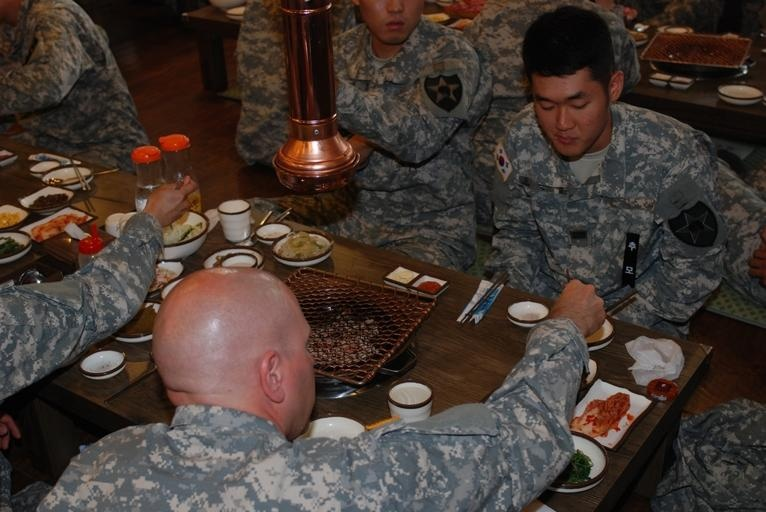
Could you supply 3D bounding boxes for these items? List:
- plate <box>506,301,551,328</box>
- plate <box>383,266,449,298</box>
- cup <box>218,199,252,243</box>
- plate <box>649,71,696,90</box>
[{"bbox_3d":[0.561,0.233,2.400,0.116,0.041,0.108,11,46,17],"label":"plate"},{"bbox_3d":[0.128,0.106,2.557,0.202,0.037,0.117,19,37,27],"label":"plate"},{"bbox_3d":[-0.696,-0.166,2.887,0.162,0.153,0.149,-1,29,1],"label":"cup"},{"bbox_3d":[1.945,-1.193,4.151,0.233,0.048,0.136,13,34,27],"label":"plate"}]
